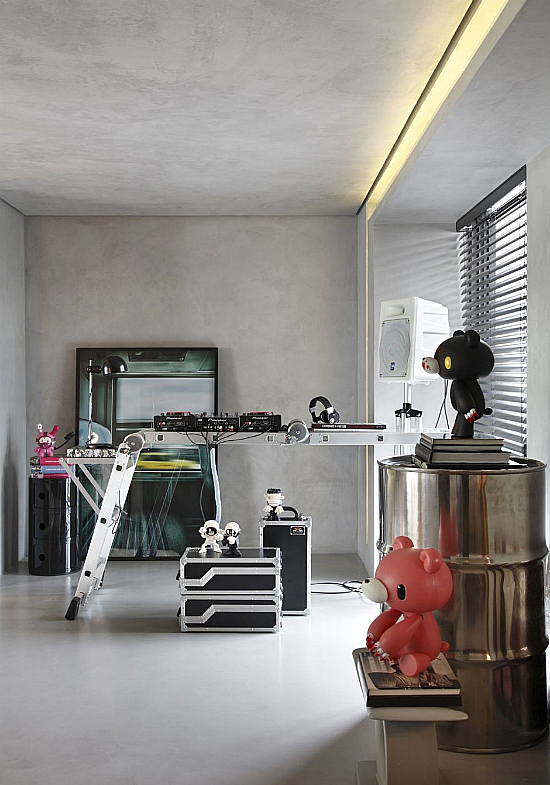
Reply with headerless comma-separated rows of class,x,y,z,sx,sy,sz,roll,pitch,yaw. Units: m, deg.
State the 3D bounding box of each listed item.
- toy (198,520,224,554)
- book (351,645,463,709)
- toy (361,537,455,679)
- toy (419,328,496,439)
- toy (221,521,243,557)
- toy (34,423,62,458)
toy,-0.340,0.761,3.776,0.123,0.150,0.211,-1,1,-3
book,0.372,0.827,2.065,0.274,0.080,0.280,-1,1,2
toy,0.322,0.626,2.175,0.330,0.464,0.312,2,-1,-5
toy,0.683,-0.035,2.672,0.205,0.400,0.267,-1,1,-7
toy,-0.237,0.787,3.793,0.128,0.205,0.148,0,-6,-4
toy,-1.535,0.327,4.852,0.193,0.325,0.111,1,-11,-14
